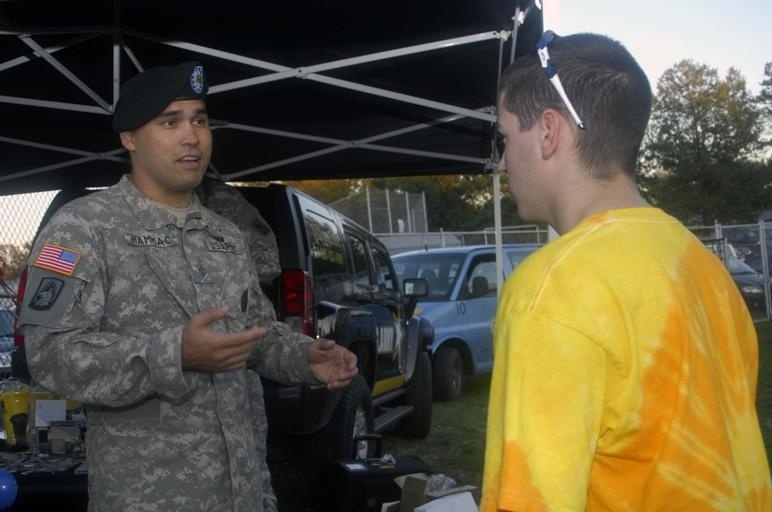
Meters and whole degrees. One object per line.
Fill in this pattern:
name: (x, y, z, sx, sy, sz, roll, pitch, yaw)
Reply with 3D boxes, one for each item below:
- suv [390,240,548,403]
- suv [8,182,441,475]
suv: (1.024, 0.786, 9.049, 1.449, 1.369, 2.553, -9, -10, 38)
suv: (-0.520, 0.557, 5.181, 1.909, 1.567, 3.428, -5, -2, 25)
